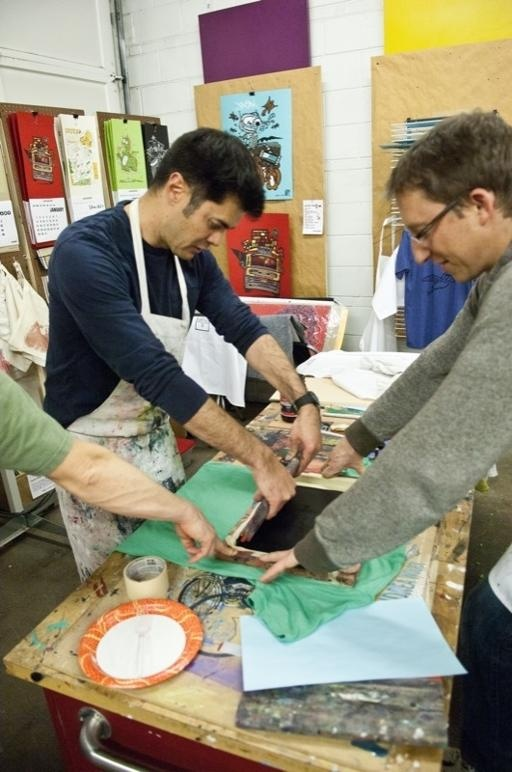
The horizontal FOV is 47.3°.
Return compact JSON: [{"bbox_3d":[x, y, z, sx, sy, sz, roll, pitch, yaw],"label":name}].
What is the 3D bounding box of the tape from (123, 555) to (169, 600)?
[{"bbox_3d":[-0.238,0.416,1.261,0.090,0.061,0.085,-2,8,-5],"label":"tape"}]
